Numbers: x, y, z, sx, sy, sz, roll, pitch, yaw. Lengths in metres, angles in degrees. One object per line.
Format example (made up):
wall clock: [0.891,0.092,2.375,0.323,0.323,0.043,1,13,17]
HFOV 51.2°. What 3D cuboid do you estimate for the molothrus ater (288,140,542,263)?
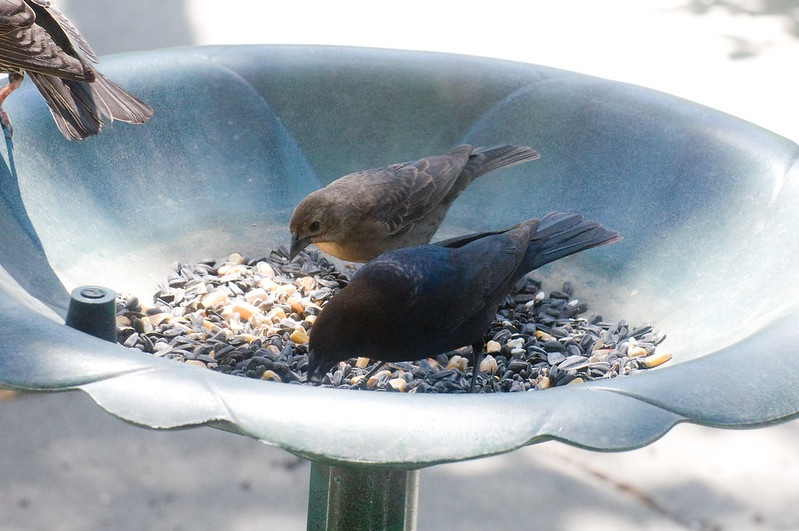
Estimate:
molothrus ater: [0.000,-0.246,3.056,0.543,0.503,0.927,5,13,35]

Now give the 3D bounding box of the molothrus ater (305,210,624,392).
molothrus ater: [0.164,0.047,2.664,1.141,0.284,0.319,-32,56,-28]
